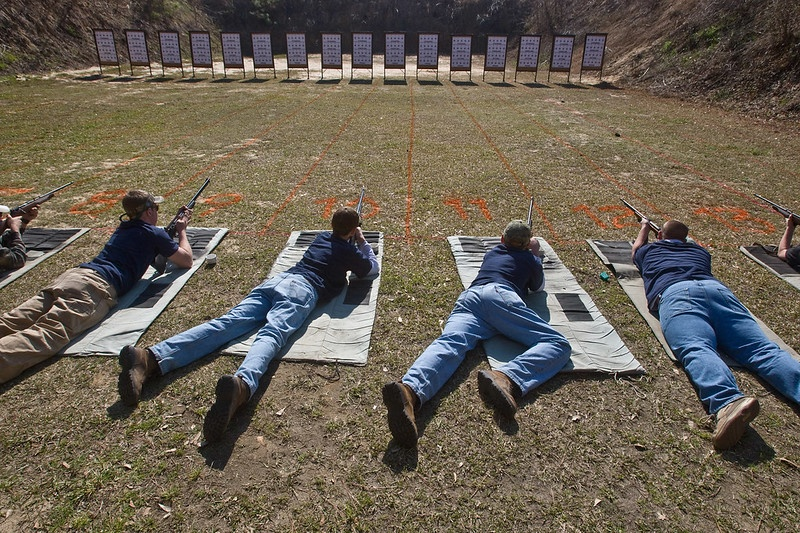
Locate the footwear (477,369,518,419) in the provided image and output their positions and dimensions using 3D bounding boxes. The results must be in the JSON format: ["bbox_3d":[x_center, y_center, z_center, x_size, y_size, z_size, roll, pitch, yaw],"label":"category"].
[{"bbox_3d":[0.996,1.245,4.525,0.449,0.361,0.265,22,36,29],"label":"footwear"}]

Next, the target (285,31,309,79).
[{"bbox_3d":[-5.530,-11.313,24.013,1.032,1.941,1.164,-4,32,-12],"label":"target"}]

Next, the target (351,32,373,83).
[{"bbox_3d":[-2.000,-11.369,23.818,1.015,1.642,1.667,-2,31,-9],"label":"target"}]

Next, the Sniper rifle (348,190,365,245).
[{"bbox_3d":[-0.621,-0.691,6.485,0.086,0.288,1.195,-1,67,11],"label":"Sniper rifle"}]

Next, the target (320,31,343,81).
[{"bbox_3d":[-3.579,-11.161,23.800,1.361,2.314,0.110,8,23,16],"label":"target"}]
